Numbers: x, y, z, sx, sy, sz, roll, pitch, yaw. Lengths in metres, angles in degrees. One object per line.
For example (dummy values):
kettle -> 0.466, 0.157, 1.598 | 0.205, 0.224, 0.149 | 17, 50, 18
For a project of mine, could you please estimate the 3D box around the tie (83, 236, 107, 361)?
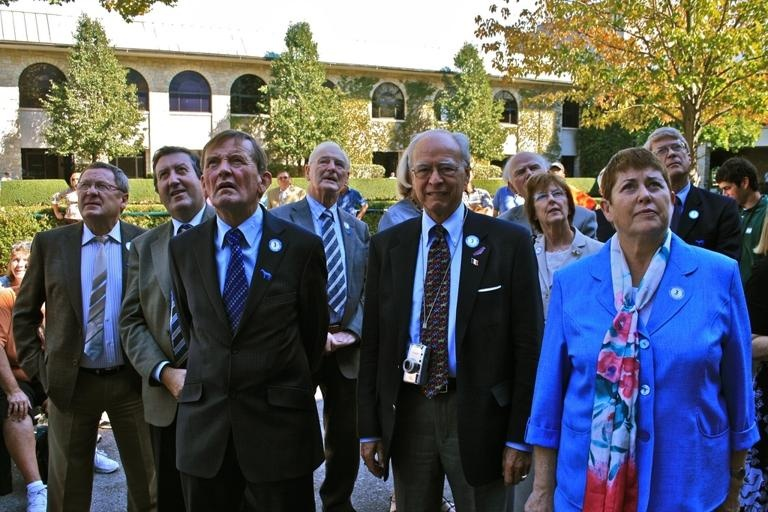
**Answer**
tie -> -2.663, 0.413, 7.305 | 0.183, 1.167, 0.273 | 1, 3, -20

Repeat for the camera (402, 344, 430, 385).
camera -> 0.249, 0.851, 6.278 | 0.198, 0.318, 0.113 | 3, 2, 14

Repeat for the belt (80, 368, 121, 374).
belt -> -2.602, 1.052, 7.251 | 0.333, 0.076, 0.026 | 2, 2, -10
